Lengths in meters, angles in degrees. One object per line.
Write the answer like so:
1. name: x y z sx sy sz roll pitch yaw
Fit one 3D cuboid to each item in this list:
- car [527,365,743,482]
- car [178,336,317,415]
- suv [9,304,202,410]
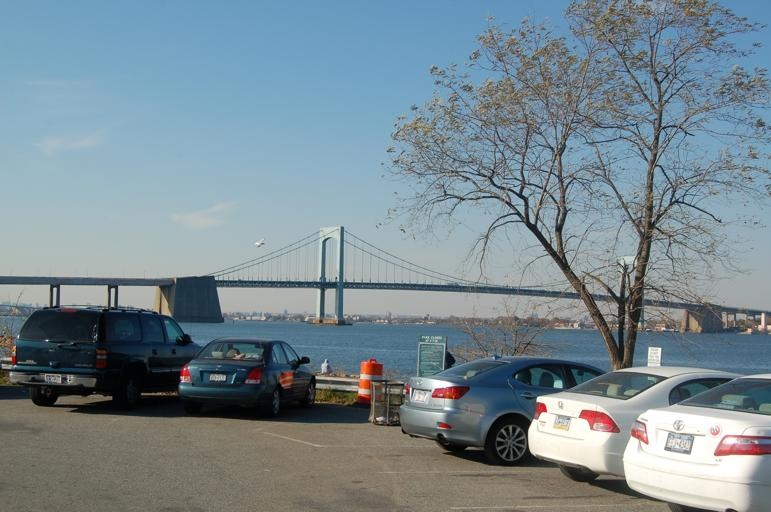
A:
1. car: 3.858 2.661 13.834 3.634 1.038 1.620 -4 3 -36
2. car: -2.856 2.650 19.821 1.625 0.942 3.262 -1 -2 16
3. suv: -6.401 2.322 19.636 1.642 2.284 3.445 -5 -11 35
